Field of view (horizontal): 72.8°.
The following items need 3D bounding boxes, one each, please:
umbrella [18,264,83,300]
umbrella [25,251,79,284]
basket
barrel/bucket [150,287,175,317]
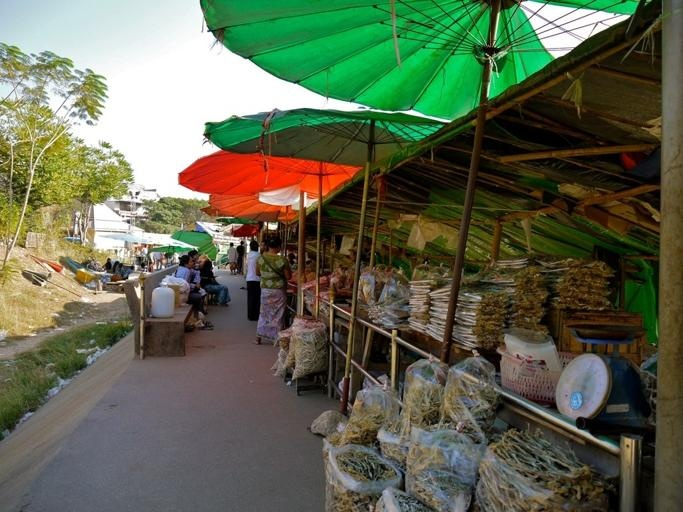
[{"bbox_3d":[-15.016,1.230,23.819,2.254,1.830,2.719,2,4,-8],"label":"umbrella"},{"bbox_3d":[-16.072,0.511,25.974,2.931,0.968,1.066,31,-23,-32],"label":"umbrella"},{"bbox_3d":[1.062,0.636,2.585,0.347,0.262,0.337,2,2,-21],"label":"basket"},{"bbox_3d":[-2.890,0.761,7.491,0.494,0.573,0.333,1,-7,-9],"label":"barrel/bucket"}]
